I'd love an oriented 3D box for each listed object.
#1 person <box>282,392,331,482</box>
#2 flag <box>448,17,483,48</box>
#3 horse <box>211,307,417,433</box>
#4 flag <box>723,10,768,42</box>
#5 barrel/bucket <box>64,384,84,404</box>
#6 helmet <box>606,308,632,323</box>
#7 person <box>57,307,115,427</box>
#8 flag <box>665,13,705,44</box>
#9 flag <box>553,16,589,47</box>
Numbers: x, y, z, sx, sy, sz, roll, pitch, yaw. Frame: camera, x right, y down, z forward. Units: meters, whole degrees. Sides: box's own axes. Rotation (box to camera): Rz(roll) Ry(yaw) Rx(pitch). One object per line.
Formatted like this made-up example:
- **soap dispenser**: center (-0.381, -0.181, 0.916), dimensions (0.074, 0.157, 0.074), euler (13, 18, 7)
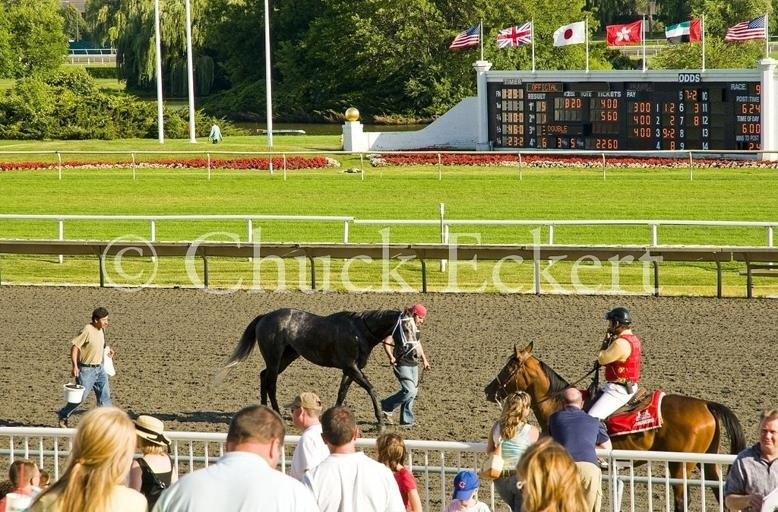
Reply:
- **person**: center (-1.942, 4.314, 49.426), dimensions (0.928, 1.989, 0.859), euler (0, 0, -10)
- **flag**: center (2.559, -7.270, 68.734), dimensions (0.929, 0.787, 1.594), euler (-1, 0, 3)
- **horse**: center (-1.811, 2.765, 52.498), dimensions (5.056, 3.027, 1.221), euler (2, 2, 10)
- **flag**: center (11.450, -7.231, 65.829), dimensions (1.171, 0.821, 2.290), euler (-1, 0, 13)
- **barrel/bucket**: center (-8.002, 3.458, 51.690), dimensions (0.459, 0.326, 0.462), euler (4, -5, 0)
- **helmet**: center (5.639, 1.458, 50.473), dimensions (0.494, 0.269, 0.371), euler (13, 5, 16)
- **person**: center (-7.534, 2.725, 52.284), dimensions (1.164, 3.170, 1.533), euler (0, -5, 32)
- **flag**: center (9.547, -7.270, 66.661), dimensions (1.160, 0.843, 2.302), euler (-1, 0, 8)
- **flag**: center (5.964, -7.355, 68.273), dimensions (1.054, 0.975, 3.599), euler (-1, 0, 5)
